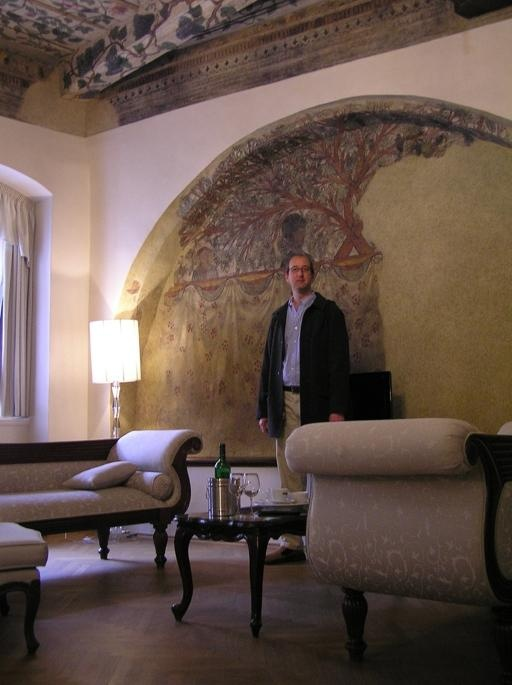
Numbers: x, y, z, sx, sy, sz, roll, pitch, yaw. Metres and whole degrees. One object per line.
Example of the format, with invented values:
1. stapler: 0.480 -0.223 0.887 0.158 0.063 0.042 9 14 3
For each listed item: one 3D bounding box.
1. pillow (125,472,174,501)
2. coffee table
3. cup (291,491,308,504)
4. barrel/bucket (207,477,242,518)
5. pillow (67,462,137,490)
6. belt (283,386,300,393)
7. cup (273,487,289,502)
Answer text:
1. pillow: -0.626 0.826 3.768 0.287 0.159 0.138 -7 -10 31
2. coffee table: 0.026 0.873 2.586 0.457 0.293 0.609 -12 -17 37
3. cup: 0.188 0.667 2.823 0.051 0.040 0.050 0 -4 0
4. barrel/bucket: -0.126 0.601 2.562 0.136 0.147 0.136 -1 -3 0
5. pillow: -0.891 0.760 3.736 0.398 0.139 0.257 0 -9 -11
6. belt: 0.198 0.267 3.806 0.019 0.044 0.107 6 -12 -43
7. cup: 0.106 0.661 2.851 0.057 0.046 0.060 -2 -14 -1
